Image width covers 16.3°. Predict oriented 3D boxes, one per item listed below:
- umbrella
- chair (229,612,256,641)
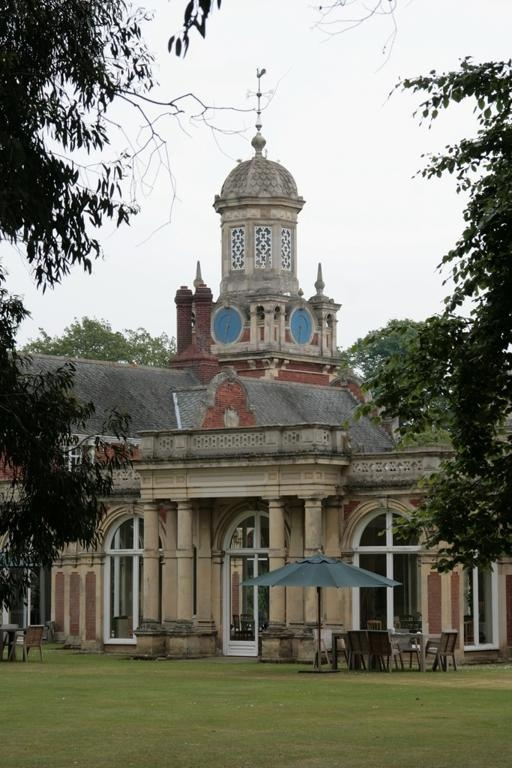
[{"bbox_3d":[0.904,3.262,27.533,1.885,1.537,1.922,4,-9,-34],"label":"umbrella"},{"bbox_3d":[-0.249,4.578,33.693,0.389,0.796,0.478,1,-13,-7],"label":"chair"}]
